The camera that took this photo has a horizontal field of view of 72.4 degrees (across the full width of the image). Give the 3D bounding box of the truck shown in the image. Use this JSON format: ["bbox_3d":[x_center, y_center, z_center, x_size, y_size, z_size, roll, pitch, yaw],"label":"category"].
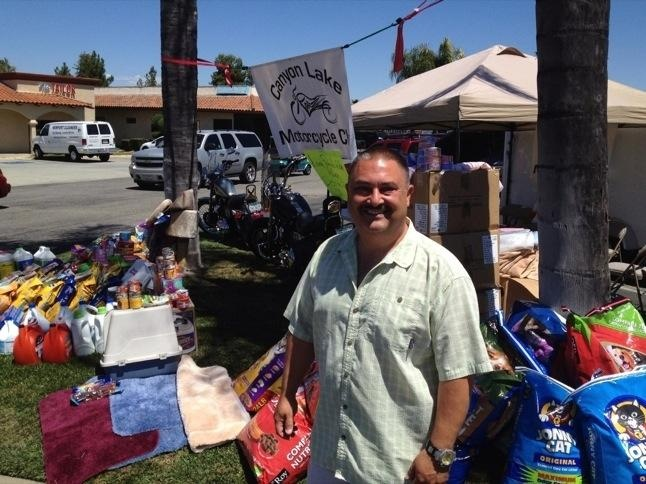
[{"bbox_3d":[-17.007,-6.769,29.724,6.230,2.565,2.077,6,15,16],"label":"truck"}]

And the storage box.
[{"bbox_3d":[1.281,0.070,4.822,0.959,1.711,0.988,2,13,-15],"label":"storage box"}]

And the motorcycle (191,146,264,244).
[{"bbox_3d":[-2.068,-0.654,9.482,0.680,1.652,2.714,-9,15,-44],"label":"motorcycle"}]

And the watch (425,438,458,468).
[{"bbox_3d":[0.483,0.877,1.789,0.102,0.071,0.101,0,10,-34],"label":"watch"}]
